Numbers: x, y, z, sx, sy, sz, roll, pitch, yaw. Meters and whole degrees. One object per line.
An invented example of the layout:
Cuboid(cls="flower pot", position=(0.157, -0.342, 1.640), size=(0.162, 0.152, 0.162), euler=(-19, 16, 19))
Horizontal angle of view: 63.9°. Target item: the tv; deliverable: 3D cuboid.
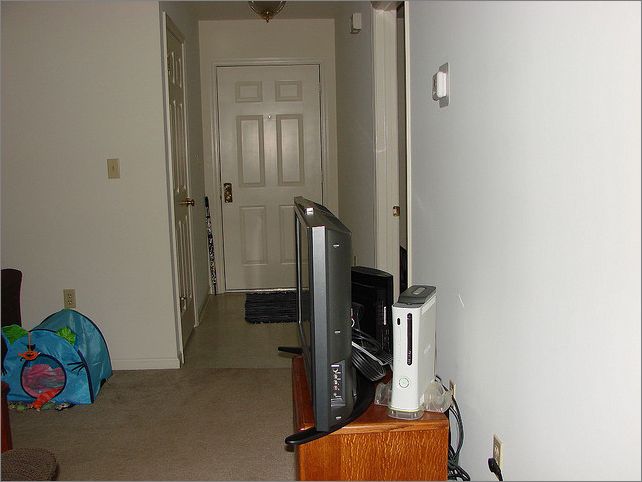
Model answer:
Cuboid(cls="tv", position=(0.033, 0.240, 1.666), size=(0.264, 0.679, 0.451), euler=(0, 11, 3))

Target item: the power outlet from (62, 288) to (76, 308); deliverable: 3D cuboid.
Cuboid(cls="power outlet", position=(-1.648, 0.379, 3.369), size=(0.079, 0.132, 0.018), euler=(0, 10, 3))

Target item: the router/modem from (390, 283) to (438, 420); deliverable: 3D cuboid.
Cuboid(cls="router/modem", position=(0.286, 0.342, 1.598), size=(0.086, 0.353, 0.228), euler=(5, 10, 9))
